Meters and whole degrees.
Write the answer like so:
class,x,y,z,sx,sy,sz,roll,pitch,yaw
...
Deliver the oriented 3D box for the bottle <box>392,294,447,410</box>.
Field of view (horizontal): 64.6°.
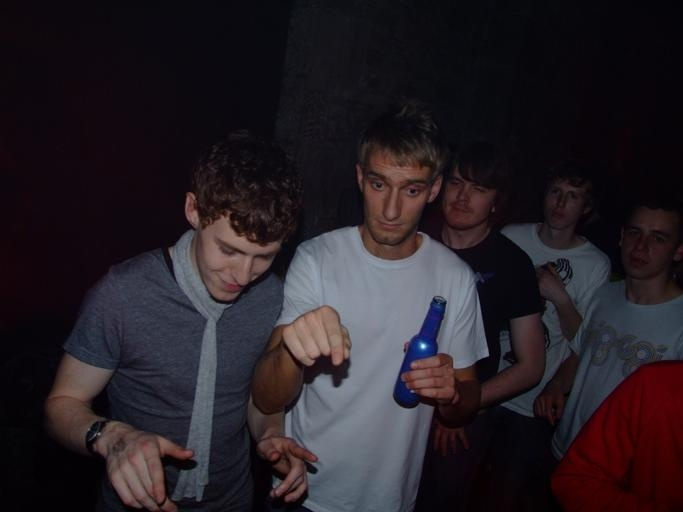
class,x,y,z,sx,sy,sz,roll,pitch,yaw
bottle,0.403,0.527,2.720,0.233,0.688,0.212,1,29,-1
